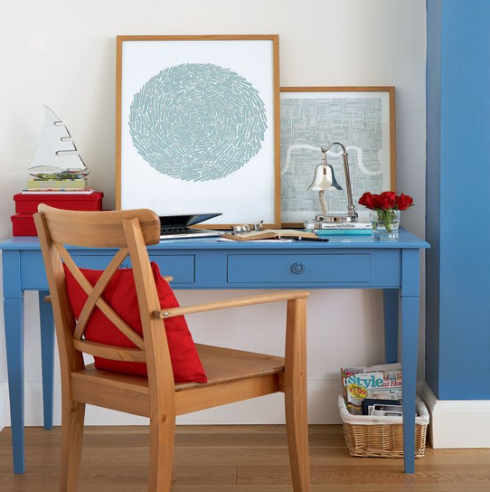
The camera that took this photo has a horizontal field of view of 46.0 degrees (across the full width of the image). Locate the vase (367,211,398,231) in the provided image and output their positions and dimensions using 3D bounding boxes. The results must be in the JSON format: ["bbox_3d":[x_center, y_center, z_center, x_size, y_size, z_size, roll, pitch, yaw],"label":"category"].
[{"bbox_3d":[0.534,-0.087,2.230,0.100,0.056,0.089,0,0,-13],"label":"vase"}]

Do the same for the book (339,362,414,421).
[{"bbox_3d":[0.538,0.598,2.344,0.356,0.271,0.163,-1,-18,1],"label":"book"}]

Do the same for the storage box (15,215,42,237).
[{"bbox_3d":[-0.871,-0.072,2.355,0.127,0.075,0.113,0,-1,-9],"label":"storage box"}]

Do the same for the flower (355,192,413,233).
[{"bbox_3d":[0.529,-0.126,2.213,0.187,0.132,0.158,-1,-11,38],"label":"flower"}]

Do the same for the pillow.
[{"bbox_3d":[-0.339,0.203,1.649,0.463,0.323,0.213,4,-8,32],"label":"pillow"}]
